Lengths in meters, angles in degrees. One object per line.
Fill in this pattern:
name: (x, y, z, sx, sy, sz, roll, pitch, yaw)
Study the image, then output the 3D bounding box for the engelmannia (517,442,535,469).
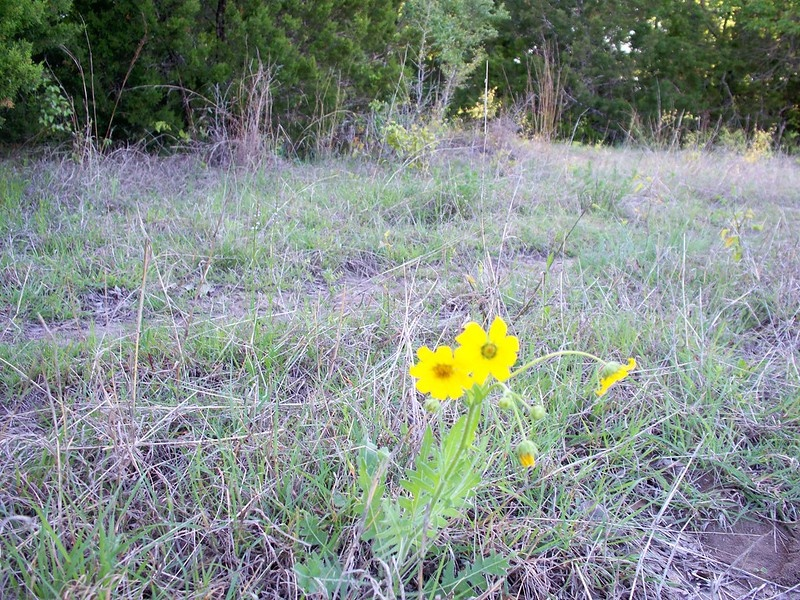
engelmannia: (0.418, 0.504, 1.976, 0.062, 0.076, 0.046, 13, 17, 13)

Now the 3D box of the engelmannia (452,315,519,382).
engelmannia: (0.285, 0.171, 1.949, 0.186, 0.238, 0.121, 1, 18, -24)

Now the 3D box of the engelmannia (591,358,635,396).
engelmannia: (0.897, 0.334, 2.507, 0.076, 0.175, 0.155, 32, 36, -1)
